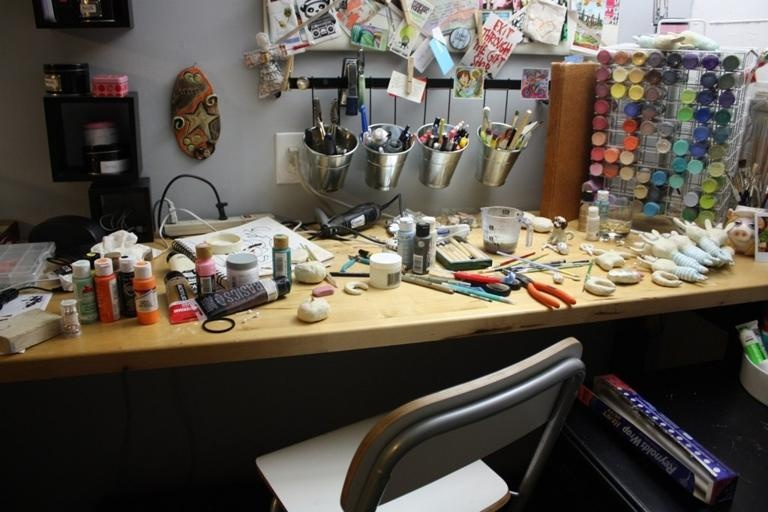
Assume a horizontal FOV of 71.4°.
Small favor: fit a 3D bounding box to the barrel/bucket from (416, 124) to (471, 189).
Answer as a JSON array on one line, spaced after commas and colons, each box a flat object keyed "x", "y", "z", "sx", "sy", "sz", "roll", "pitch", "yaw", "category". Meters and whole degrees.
[{"x": 0.201, "y": -0.363, "z": 1.916, "sx": 0.179, "sy": 0.228, "sz": 0.168, "roll": 3, "pitch": 20, "yaw": -1, "category": "barrel/bucket"}]

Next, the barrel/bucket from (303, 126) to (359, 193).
[{"x": -0.186, "y": -0.346, "z": 1.883, "sx": 0.202, "sy": 0.176, "sz": 0.219, "roll": 5, "pitch": 41, "yaw": -4, "category": "barrel/bucket"}]

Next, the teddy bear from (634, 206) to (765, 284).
[{"x": 0.951, "y": -0.026, "z": 1.655, "sx": 0.286, "sy": 0.079, "sz": 0.221, "roll": -27, "pitch": 34, "yaw": -29, "category": "teddy bear"}]

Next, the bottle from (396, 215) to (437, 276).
[{"x": 0.097, "y": -0.028, "z": 1.587, "sx": 0.147, "sy": 0.211, "sz": 0.113, "roll": 2, "pitch": 19, "yaw": 2, "category": "bottle"}]

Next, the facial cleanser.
[{"x": -0.392, "y": 0.073, "z": 1.451, "sx": 0.275, "sy": 0.088, "sz": 0.218, "roll": -9, "pitch": 21, "yaw": -28, "category": "facial cleanser"}]

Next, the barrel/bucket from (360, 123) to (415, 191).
[{"x": 0.007, "y": -0.345, "z": 1.889, "sx": 0.187, "sy": 0.231, "sz": 0.163, "roll": -2, "pitch": 20, "yaw": -18, "category": "barrel/bucket"}]

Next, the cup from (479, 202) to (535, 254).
[{"x": 0.385, "y": -0.088, "z": 1.797, "sx": 0.171, "sy": 0.162, "sz": 0.145, "roll": -10, "pitch": 21, "yaw": -31, "category": "cup"}]
